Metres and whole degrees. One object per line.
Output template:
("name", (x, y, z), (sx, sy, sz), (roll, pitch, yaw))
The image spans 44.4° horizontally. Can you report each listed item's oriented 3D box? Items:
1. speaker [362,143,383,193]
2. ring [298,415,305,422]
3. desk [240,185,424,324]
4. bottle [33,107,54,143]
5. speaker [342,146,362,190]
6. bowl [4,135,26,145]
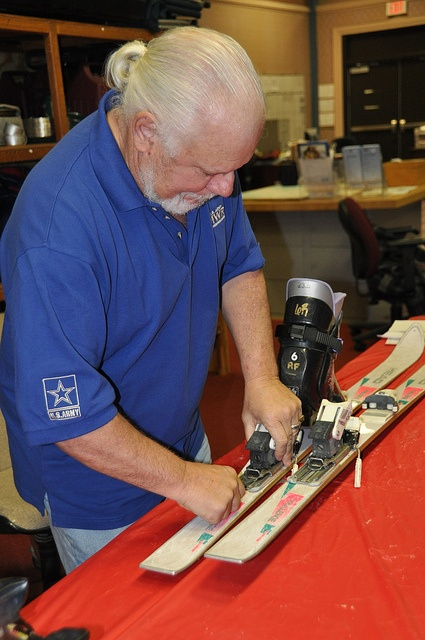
("speaker", (1.333, -1.289, 4.377), (0.164, 0.376, 0.215), (-4, 10, 17))
("ring", (0.187, 0.207, 1.095), (0.011, 0.013, 0.015), (-5, 5, 4))
("desk", (0.919, -0.727, 4.804), (1.602, 1.173, 1.718), (-5, 10, -15))
("bottle", (-0.840, -0.956, 2.594), (0.112, 0.124, 0.114), (-1, 15, -5))
("speaker", (1.210, -1.319, 4.506), (0.146, 0.350, 0.167), (-4, 10, 15))
("bowl", (-0.934, -0.849, 2.491), (0.066, 0.050, 0.058), (5, 9, 7))
